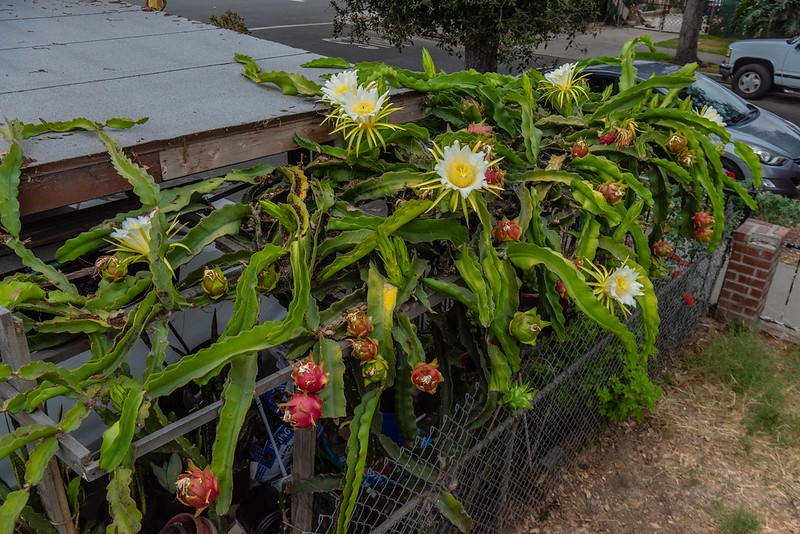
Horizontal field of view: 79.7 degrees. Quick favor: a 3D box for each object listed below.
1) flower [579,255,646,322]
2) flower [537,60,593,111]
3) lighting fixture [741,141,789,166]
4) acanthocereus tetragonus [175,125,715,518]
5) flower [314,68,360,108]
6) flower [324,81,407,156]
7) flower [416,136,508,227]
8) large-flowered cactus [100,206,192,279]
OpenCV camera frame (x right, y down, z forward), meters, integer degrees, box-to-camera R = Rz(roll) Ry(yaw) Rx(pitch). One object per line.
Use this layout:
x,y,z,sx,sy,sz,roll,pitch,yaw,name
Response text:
0.957,0.083,2.237,0.284,0.288,0.199,43,6,20,flower
0.965,-1.008,2.764,0.189,0.204,0.204,-2,3,22,flower
5.093,-1.514,6.596,0.498,0.210,0.242,16,33,22,lighting fixture
0.195,0.263,2.299,1.515,2.490,0.573,12,-6,-13,acanthocereus tetragonus
-0.261,-0.754,2.085,0.153,0.146,0.188,4,31,5,flower
-0.144,-0.660,2.084,0.256,0.139,0.284,0,-16,-15,flower
0.234,-0.374,1.842,0.289,0.150,0.300,-3,-7,-44,flower
-0.931,-0.091,1.838,0.244,0.165,0.290,-27,-6,2,large-flowered cactus
